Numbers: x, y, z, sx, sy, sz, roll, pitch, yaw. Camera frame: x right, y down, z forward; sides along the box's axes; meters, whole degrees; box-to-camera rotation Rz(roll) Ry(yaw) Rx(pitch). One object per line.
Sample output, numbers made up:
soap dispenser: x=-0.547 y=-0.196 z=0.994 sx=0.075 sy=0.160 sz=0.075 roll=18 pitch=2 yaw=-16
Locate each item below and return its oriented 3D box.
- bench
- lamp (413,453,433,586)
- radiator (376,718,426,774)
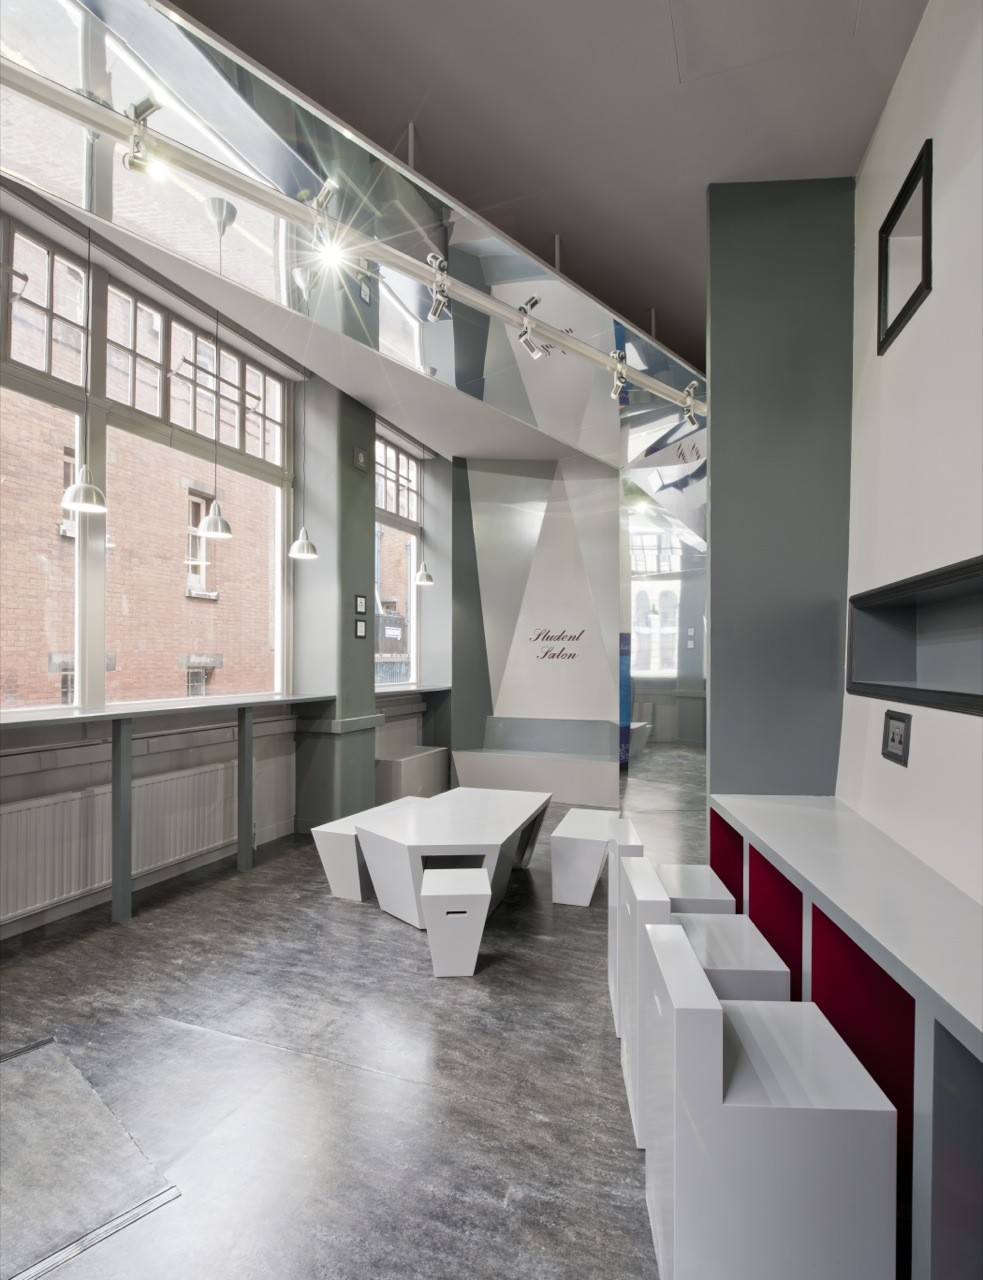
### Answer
bench: x=-0.143 y=1.062 z=4.322 sx=1.286 sy=0.459 sz=1.798 roll=1 pitch=1 yaw=34
lamp: x=-0.611 y=-1.027 z=7.962 sx=0.137 sy=1.140 sz=0.176 roll=0 pitch=1 yaw=-39
radiator: x=-0.705 y=0.769 z=7.209 sx=0.295 sy=0.279 sz=1.265 roll=0 pitch=0 yaw=8
